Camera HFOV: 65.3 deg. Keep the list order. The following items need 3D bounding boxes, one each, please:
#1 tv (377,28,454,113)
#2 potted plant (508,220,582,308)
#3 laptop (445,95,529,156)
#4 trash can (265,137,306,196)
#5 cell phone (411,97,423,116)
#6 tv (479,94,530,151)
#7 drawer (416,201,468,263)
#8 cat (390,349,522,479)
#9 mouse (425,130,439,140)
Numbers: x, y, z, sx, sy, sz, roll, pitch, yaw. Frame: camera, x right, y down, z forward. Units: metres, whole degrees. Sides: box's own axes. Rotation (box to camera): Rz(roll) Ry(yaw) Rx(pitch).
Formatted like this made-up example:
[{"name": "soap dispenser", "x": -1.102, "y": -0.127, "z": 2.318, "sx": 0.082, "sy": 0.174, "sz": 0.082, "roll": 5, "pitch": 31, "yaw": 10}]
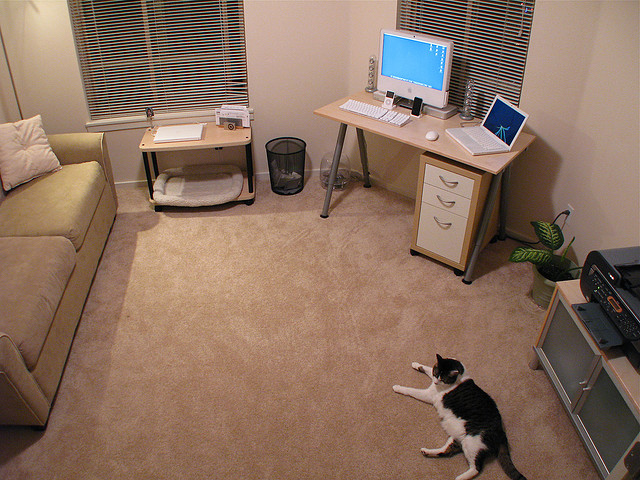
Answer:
[{"name": "tv", "x": 0.728, "y": -1.277, "z": 3.729, "sx": 0.515, "sy": 0.456, "sz": 0.173, "roll": 27, "pitch": 41, "yaw": 26}, {"name": "potted plant", "x": 1.516, "y": 0.176, "z": 3.349, "sx": 0.328, "sy": 0.375, "sz": 0.355, "roll": -26, "pitch": 41, "yaw": -24}, {"name": "laptop", "x": 1.118, "y": -0.791, "z": 3.378, "sx": 0.378, "sy": 0.260, "sz": 0.452, "roll": -1, "pitch": 33, "yaw": -5}, {"name": "trash can", "x": -0.301, "y": -0.677, "z": 4.536, "sx": 0.358, "sy": 0.399, "sz": 0.379, "roll": -3, "pitch": 36, "yaw": -3}, {"name": "cell phone", "x": 0.737, "y": -1.017, "z": 3.793, "sx": 0.098, "sy": 0.182, "sz": 0.012, "roll": 21, "pitch": 27, "yaw": 29}, {"name": "tv", "x": 1.271, "y": -0.793, "z": 3.416, "sx": 0.263, "sy": 0.211, "sz": 0.341, "roll": -23, "pitch": 61, "yaw": -26}, {"name": "drawer", "x": 0.885, "y": -0.071, "z": 3.600, "sx": 0.237, "sy": 0.349, "sz": 0.237, "roll": 25, "pitch": 44, "yaw": 27}, {"name": "cat", "x": 0.740, "y": 0.946, "z": 2.719, "sx": 0.583, "sy": 0.354, "sz": 0.637, "roll": -4, "pitch": 37, "yaw": -5}, {"name": "mouse", "x": 0.784, "y": -0.739, "z": 3.510, "sx": 0.101, "sy": 0.037, "sz": 0.087, "roll": -27, "pitch": 45, "yaw": -31}]
